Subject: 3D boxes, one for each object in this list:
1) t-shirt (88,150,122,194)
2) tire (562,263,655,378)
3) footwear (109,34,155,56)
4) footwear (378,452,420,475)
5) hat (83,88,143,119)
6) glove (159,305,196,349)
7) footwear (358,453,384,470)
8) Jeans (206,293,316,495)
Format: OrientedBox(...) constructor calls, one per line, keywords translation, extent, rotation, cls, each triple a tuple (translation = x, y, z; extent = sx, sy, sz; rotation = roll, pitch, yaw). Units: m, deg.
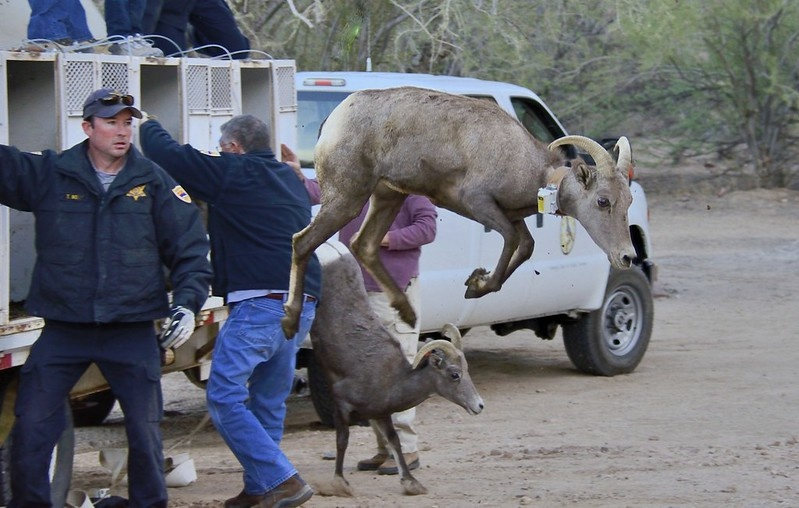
OrientedBox(translation=(-2.595, -0.705, 12.989), extent=(0.249, 0.298, 0.124), rotation=(5, 13, 5), cls="t-shirt")
OrientedBox(translation=(2.394, 0.768, 17.268), extent=(0.457, 1.215, 1.301), rotation=(-6, -13, 41), cls="tire")
OrientedBox(translation=(-2.500, -1.966, 13.893), extent=(0.564, 0.215, 0.180), rotation=(4, 18, 4), cls="footwear")
OrientedBox(translation=(-0.011, 2.055, 14.515), extent=(0.491, 0.196, 0.173), rotation=(-7, -1, -18), cls="footwear")
OrientedBox(translation=(-2.529, -1.325, 12.981), extent=(0.411, 0.180, 0.265), rotation=(3, 5, 18), cls="hat")
OrientedBox(translation=(-1.954, 0.652, 12.965), extent=(0.232, 0.416, 0.200), rotation=(44, -24, -20), cls="glove")
OrientedBox(translation=(-0.347, 2.067, 14.636), extent=(0.357, 0.137, 0.114), rotation=(1, -1, -5), cls="footwear")
OrientedBox(translation=(-1.279, 1.280, 13.514), extent=(0.942, 1.789, 0.592), rotation=(-1, 6, -3), cls="Jeans")
